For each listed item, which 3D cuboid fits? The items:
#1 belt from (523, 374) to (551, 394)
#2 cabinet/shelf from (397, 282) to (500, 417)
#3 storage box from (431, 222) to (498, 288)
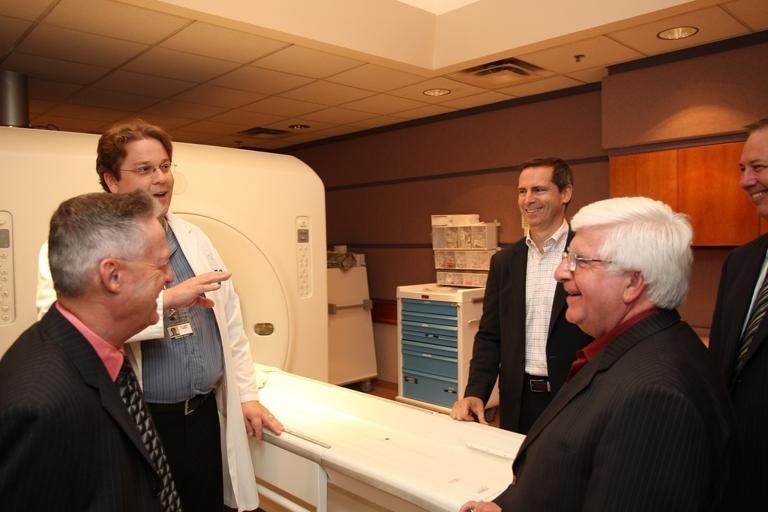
[{"bbox_3d":[0.698,0.582,2.388,0.116,0.053,0.152,0,-2,5],"label":"belt"},{"bbox_3d":[0.611,0.810,4.747,0.842,1.063,0.795,0,3,38],"label":"cabinet/shelf"},{"bbox_3d":[0.704,-0.018,4.522,0.614,0.598,0.247,-2,-2,42],"label":"storage box"}]
